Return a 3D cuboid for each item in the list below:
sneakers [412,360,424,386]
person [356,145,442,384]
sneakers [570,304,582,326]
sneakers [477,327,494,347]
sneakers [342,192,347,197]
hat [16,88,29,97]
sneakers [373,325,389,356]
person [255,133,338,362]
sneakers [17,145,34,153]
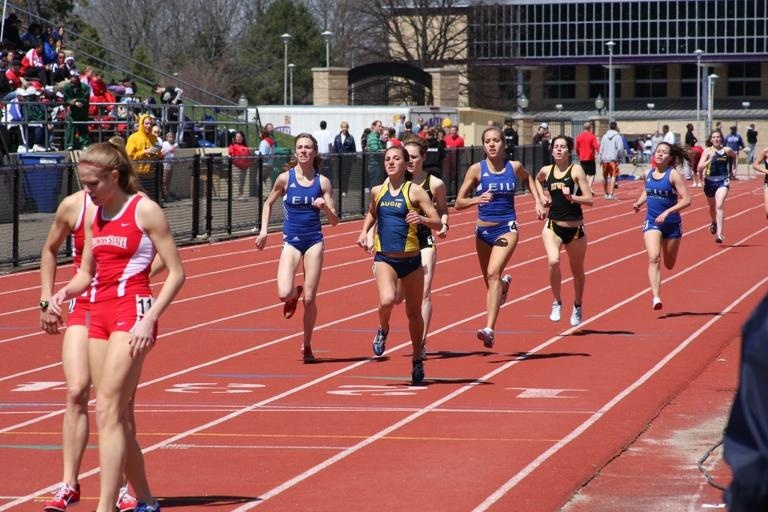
[{"bbox_3d":[0.358,1.238,8.935,0.098,0.302,0.139,0,32,4],"label":"sneakers"},{"bbox_3d":[0.183,0.090,9.053,0.686,2.514,1.003,-2,6,-9],"label":"person"},{"bbox_3d":[2.557,0.799,11.288,0.118,0.145,0.370,5,45,17],"label":"sneakers"},{"bbox_3d":[1.152,0.933,9.544,0.123,0.148,0.323,-3,-38,24],"label":"sneakers"},{"bbox_3d":[-1.165,-1.793,24.625,0.121,0.147,0.337,-1,-5,1],"label":"sneakers"},{"bbox_3d":[-9.650,-4.380,22.601,0.243,0.241,0.292,2,7,22],"label":"hat"},{"bbox_3d":[-0.010,0.994,9.641,0.155,0.439,0.182,5,2,-25],"label":"sneakers"},{"bbox_3d":[-1.005,-0.106,10.107,0.917,2.700,1.081,-2,6,-8],"label":"person"},{"bbox_3d":[-9.413,-2.825,22.360,0.493,0.219,0.169,2,15,-3],"label":"sneakers"}]
